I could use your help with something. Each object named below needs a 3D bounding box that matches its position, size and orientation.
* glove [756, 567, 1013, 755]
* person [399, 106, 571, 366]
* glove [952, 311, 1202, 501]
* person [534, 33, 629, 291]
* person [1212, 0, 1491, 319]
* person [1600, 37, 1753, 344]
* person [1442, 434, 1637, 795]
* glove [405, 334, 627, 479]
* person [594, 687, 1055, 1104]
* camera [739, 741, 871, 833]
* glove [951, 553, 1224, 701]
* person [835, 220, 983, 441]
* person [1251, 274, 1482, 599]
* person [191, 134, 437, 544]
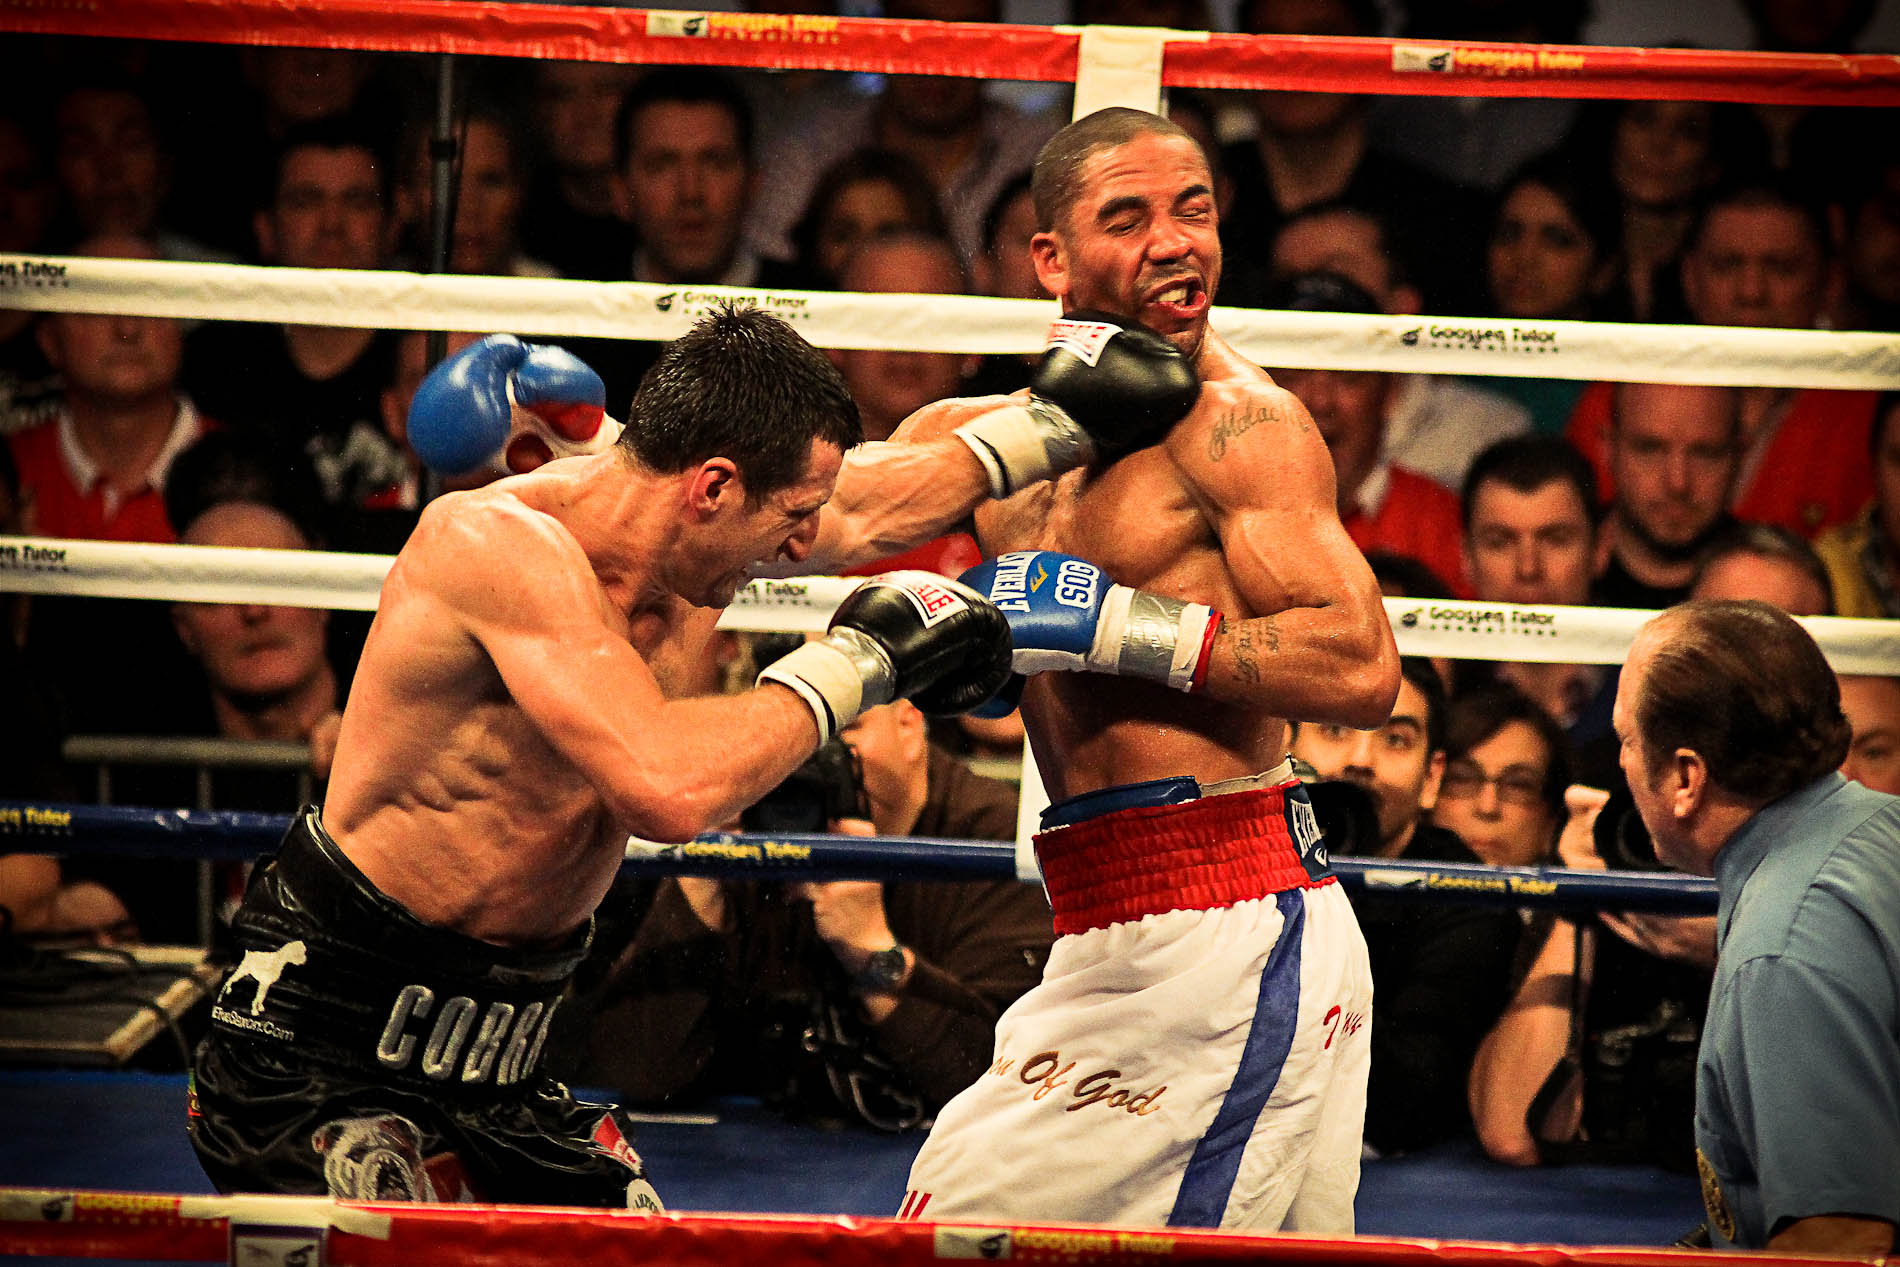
[{"bbox_3d":[-0.152,0.096,5.464,0.509,0.385,0.208,-36,-17,-27],"label":"glove"},{"bbox_3d":[-1.587,-1.344,7.714,0.754,0.924,0.374,4,8,5],"label":"person"},{"bbox_3d":[0.366,-0.545,5.750,0.684,0.317,0.498,-27,6,-2],"label":"glove"},{"bbox_3d":[-1.244,-1.578,8.048,0.414,0.741,0.128,-7,7,-8],"label":"person"},{"bbox_3d":[1.357,-1.573,8.271,0.905,1.100,0.322,7,-4,2],"label":"person"},{"bbox_3d":[2.436,-1.470,7.805,0.651,0.819,0.310,0,-1,9],"label":"person"},{"bbox_3d":[2.192,-0.180,7.970,0.630,1.207,0.602,0,27,17],"label":"person"},{"bbox_3d":[-1.036,-0.560,5.674,0.453,0.318,0.205,2,46,-27],"label":"glove"},{"bbox_3d":[-0.373,0.943,6.850,1.244,0.385,1.192,11,33,24],"label":"person"},{"bbox_3d":[-0.429,0.475,6.846,0.330,0.285,0.280,0,-8,2],"label":"camera"},{"bbox_3d":[0.276,-0.042,5.595,0.684,0.222,0.322,4,39,-10],"label":"glove"},{"bbox_3d":[-0.149,-1.027,7.901,0.544,0.689,0.722,0,-2,-3],"label":"person"},{"bbox_3d":[1.259,-0.721,8.277,1.210,0.450,0.850,-13,34,11],"label":"person"},{"bbox_3d":[-2.066,-0.990,7.859,1.278,1.117,0.356,1,1,6],"label":"person"}]
